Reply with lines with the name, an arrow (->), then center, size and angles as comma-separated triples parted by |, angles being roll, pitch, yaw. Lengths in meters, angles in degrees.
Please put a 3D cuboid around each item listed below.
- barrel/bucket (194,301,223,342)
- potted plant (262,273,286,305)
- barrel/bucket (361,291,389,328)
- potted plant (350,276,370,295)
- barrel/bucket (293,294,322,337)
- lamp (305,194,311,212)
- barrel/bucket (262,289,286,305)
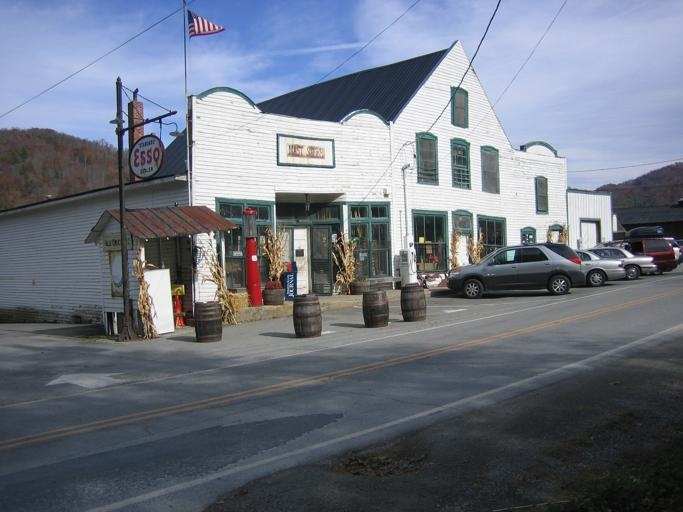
barrel/bucket -> -3.382, 1.678, 16.177 | 0.724, 0.987, 0.942 | 0, -2, -5
potted plant -> -2.296, 1.219, 21.747 | 0.720, 0.745, 0.749 | 0, -4, -2
barrel/bucket -> 0.841, 1.414, 17.262 | 0.820, 0.945, 0.831 | -1, -4, 0
potted plant -> 0.764, 1.162, 25.473 | 0.811, 0.653, 0.565 | -5, 4, -23
barrel/bucket -> -0.830, 1.534, 16.229 | 0.810, 1.241, 0.915 | -6, -7, 44
lamp -> -1.330, -2.049, 25.494 | 0.241, 0.645, 0.758 | -3, 4, -3
barrel/bucket -> -2.260, 1.402, 21.481 | 0.537, 0.413, 0.567 | -2, -4, 0
